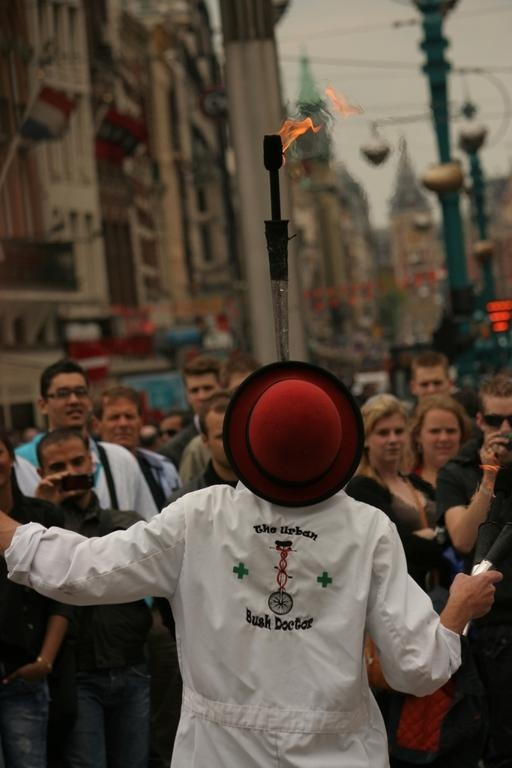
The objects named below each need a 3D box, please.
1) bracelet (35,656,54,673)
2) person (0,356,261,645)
[{"bbox_3d":[-0.871,1.158,5.105,0.052,0.037,0.069,15,2,-17],"label":"bracelet"},{"bbox_3d":[-0.542,0.492,5.236,1.583,1.393,0.437,0,-9,-5],"label":"person"}]
